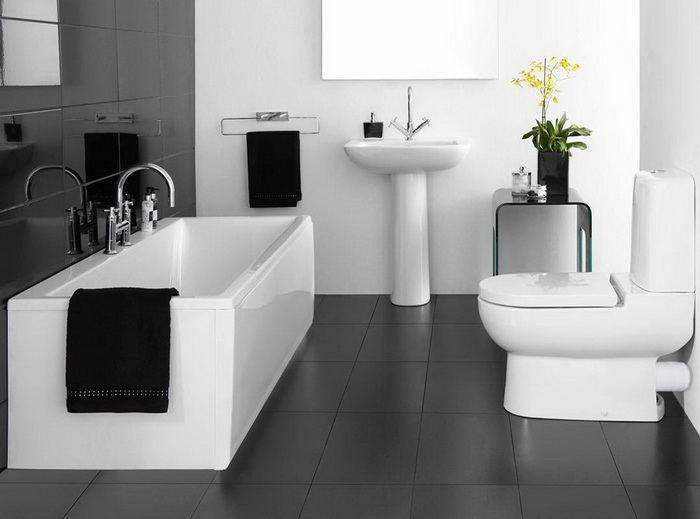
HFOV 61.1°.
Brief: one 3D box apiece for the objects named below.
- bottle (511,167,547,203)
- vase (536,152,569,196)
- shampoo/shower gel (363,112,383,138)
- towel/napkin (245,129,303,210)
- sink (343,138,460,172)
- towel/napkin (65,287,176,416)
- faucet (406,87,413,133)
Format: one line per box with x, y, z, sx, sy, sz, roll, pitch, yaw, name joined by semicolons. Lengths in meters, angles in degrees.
1.074;-0.447;3.637;0.241;0.273;0.141;1;5;18;bottle
1.232;-0.486;3.634;0.191;0.291;0.203;1;-19;23;vase
0.157;-0.905;4.034;0.130;0.169;0.061;-1;11;3;shampoo/shower gel
-0.520;-0.617;4.025;0.349;0.520;0.118;0;10;4;towel/napkin
0.372;-0.660;3.836;0.766;0.220;0.355;1;13;10;sink
-0.810;0.325;2.134;0.373;0.410;0.151;-1;11;2;towel/napkin
0.399;-0.995;3.964;0.047;0.305;0.157;0;12;7;faucet
